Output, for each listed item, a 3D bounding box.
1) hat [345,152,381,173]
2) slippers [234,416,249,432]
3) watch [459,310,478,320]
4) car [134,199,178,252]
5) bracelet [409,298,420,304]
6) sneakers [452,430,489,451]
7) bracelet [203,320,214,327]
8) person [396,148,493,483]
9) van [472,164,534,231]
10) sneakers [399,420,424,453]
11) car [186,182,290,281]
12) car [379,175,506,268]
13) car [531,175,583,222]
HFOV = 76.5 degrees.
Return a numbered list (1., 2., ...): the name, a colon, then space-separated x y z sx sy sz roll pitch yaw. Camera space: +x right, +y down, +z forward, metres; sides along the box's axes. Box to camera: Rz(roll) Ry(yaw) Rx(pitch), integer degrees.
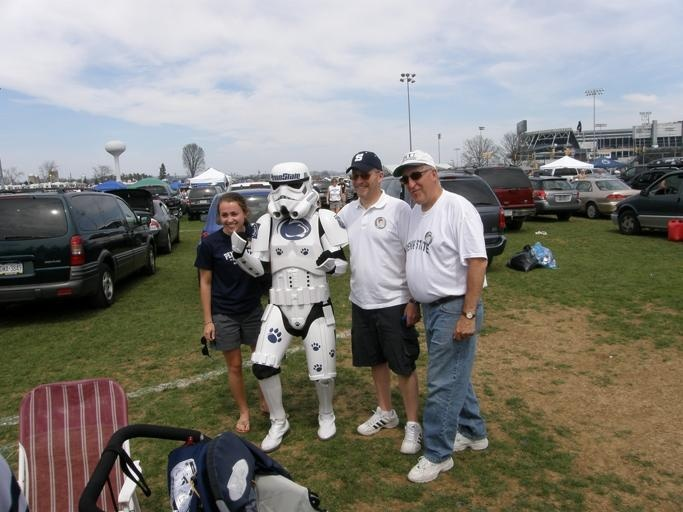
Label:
1. hat: 0.194 -0.791 3.643 0.294 0.161 0.353 -1 13 2
2. slippers: -0.914 1.532 3.962 0.142 0.067 0.252 2 4 -12
3. watch: 0.915 0.423 3.132 0.087 0.051 0.087 1 -5 7
4. car: -5.246 -0.857 12.911 0.968 0.954 2.267 -2 21 -3
5. bracelet: 0.605 0.377 3.642 0.024 0.062 0.049 -49 17 -9
6. sneakers: 1.068 1.557 3.703 0.372 0.168 0.138 5 1 -5
7. bracelet: -1.193 0.587 3.853 0.068 0.047 0.066 1 -3 -15
8. person: 0.807 0.431 3.363 0.727 2.433 0.667 -4 13 -10
9. van: 5.233 -1.906 13.196 1.353 1.222 2.538 -5 22 -11
10. sneakers: 0.579 1.511 3.658 0.117 0.132 0.295 -1 9 14
11. car: -1.902 -0.570 7.716 1.176 0.925 1.919 -2 10 -4
12. car: 2.195 -1.003 9.360 1.533 1.381 2.749 -5 15 -21
13. car: 7.788 -2.088 15.920 1.711 1.546 0.920 -5 13 -14
